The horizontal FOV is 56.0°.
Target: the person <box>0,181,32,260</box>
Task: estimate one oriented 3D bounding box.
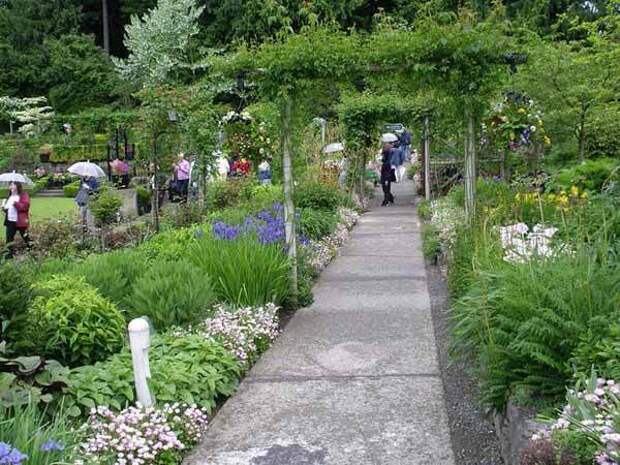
[{"bbox_3d":[-5.543,-0.290,11.037,0.454,1.369,0.810,-6,8,-28],"label":"person"}]

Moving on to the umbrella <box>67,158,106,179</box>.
[{"bbox_3d":[-4.641,-1.319,12.200,0.743,0.335,0.726,1,10,-45],"label":"umbrella"}]
